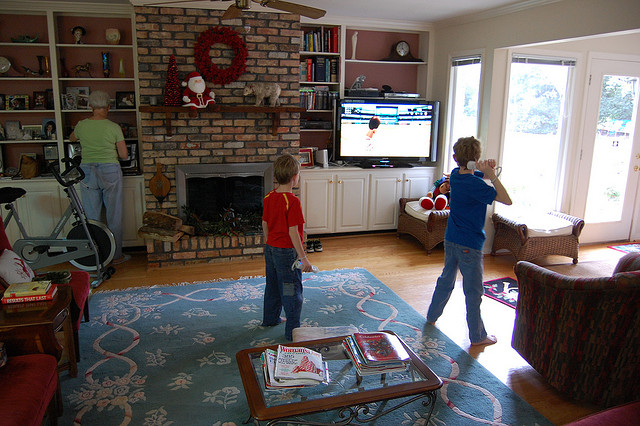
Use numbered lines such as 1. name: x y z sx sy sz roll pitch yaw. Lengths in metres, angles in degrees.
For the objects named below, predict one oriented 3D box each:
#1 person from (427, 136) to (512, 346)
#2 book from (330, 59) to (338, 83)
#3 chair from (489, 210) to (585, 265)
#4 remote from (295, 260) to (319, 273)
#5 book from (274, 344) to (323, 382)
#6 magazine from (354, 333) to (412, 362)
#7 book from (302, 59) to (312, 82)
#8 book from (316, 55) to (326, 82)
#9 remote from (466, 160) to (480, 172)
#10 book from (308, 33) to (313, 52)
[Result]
1. person: 1.401 0.277 4.150 0.644 1.956 0.330 11 18 44
2. book: 0.211 -2.180 6.688 0.106 0.274 0.293 -1 15 -4
3. chair: 2.998 0.329 6.143 1.125 0.553 1.146 1 8 16
4. remote: -0.113 0.482 3.892 0.204 0.123 0.132 -3 12 -9
5. book: -0.139 1.067 3.096 0.379 0.081 0.407 0 16 -20
6. magazine: 0.444 0.986 3.204 0.337 0.077 0.414 4 7 -11
7. book: -0.187 -2.139 6.591 0.176 0.295 0.315 -1 12 -8
8. book: 0.016 -2.172 6.621 0.123 0.336 0.359 -1 13 -7
9. remote: 1.377 -0.421 3.978 0.065 0.067 0.073 12 39 26
10. book: -0.134 -2.528 6.522 0.071 0.249 0.025 -3 13 -9
